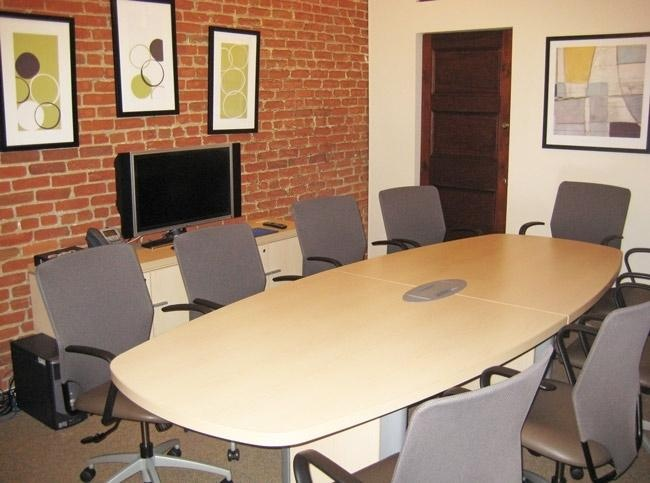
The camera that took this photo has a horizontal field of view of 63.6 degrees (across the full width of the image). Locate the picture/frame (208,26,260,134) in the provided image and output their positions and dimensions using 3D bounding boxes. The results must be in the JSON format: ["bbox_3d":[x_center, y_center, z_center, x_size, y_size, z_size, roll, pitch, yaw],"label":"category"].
[{"bbox_3d":[-0.828,-1.440,4.720,0.061,0.897,0.638,9,18,41],"label":"picture/frame"}]

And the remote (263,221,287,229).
[{"bbox_3d":[-0.456,-0.143,4.727,0.164,0.028,0.090,12,16,44],"label":"remote"}]

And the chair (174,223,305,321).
[{"bbox_3d":[-0.607,0.145,3.314,0.572,0.821,0.560,-17,21,-39],"label":"chair"}]

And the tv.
[{"bbox_3d":[-1.182,-0.358,4.029,0.118,0.509,0.850,14,19,41],"label":"tv"}]

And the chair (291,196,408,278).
[{"bbox_3d":[0.189,-0.101,4.088,0.543,0.875,0.601,-13,16,-36],"label":"chair"}]
